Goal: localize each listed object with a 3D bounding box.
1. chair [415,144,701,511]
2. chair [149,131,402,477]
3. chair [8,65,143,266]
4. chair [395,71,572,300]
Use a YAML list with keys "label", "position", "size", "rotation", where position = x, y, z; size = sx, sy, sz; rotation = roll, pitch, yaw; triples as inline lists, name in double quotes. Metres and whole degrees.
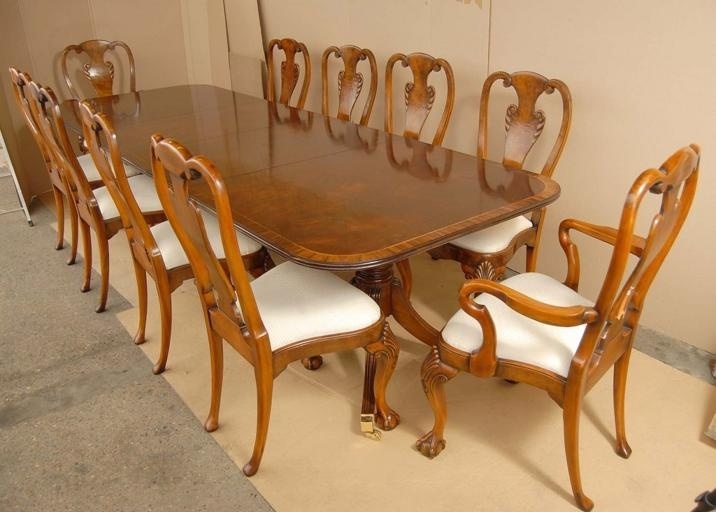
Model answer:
- label: "chair"
  position: [0.833, 0.323, 2.247]
  size: [0.724, 1.329, 0.694]
  rotation: [-32, 47, -33]
- label: "chair"
  position: [-0.321, 0.240, 2.260]
  size: [0.693, 1.245, 0.649]
  rotation: [-26, 47, -28]
- label: "chair"
  position: [-1.744, -0.525, 3.384]
  size: [0.566, 1.370, 0.670]
  rotation: [-25, 59, -26]
- label: "chair"
  position: [0.619, -0.341, 2.610]
  size: [0.667, 1.065, 0.612]
  rotation: [-34, 50, -26]
